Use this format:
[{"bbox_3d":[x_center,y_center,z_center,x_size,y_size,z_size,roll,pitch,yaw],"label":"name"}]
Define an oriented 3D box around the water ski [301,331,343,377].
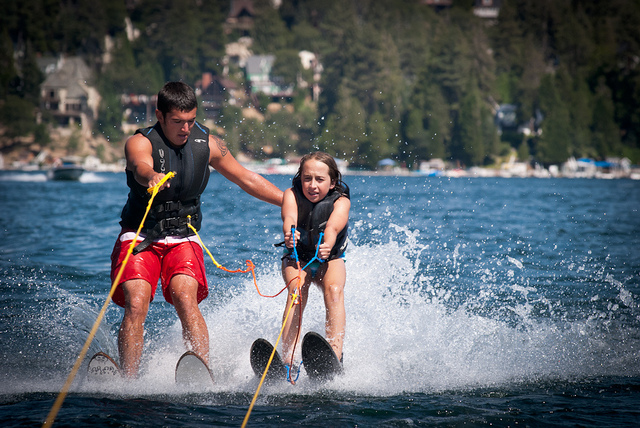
[{"bbox_3d":[0.058,3.451,25.688,0.555,1.383,0.531,-21,18,10],"label":"water ski"}]
